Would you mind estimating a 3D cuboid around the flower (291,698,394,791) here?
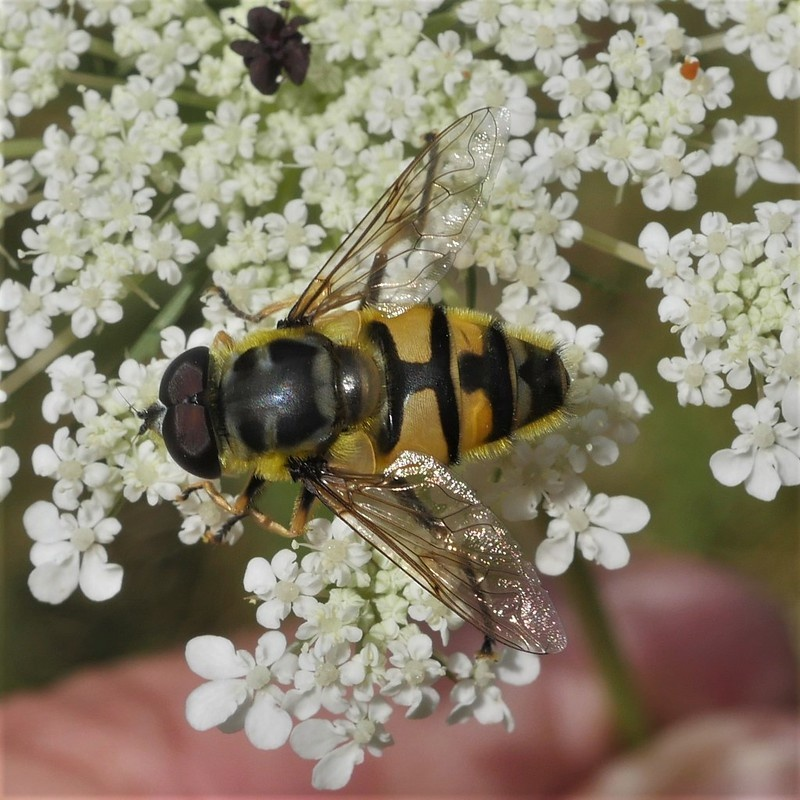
[{"bbox_3d":[-0.116,0.688,2.022,0.186,0.054,0.200,-11,100,-23],"label":"flower"}]
